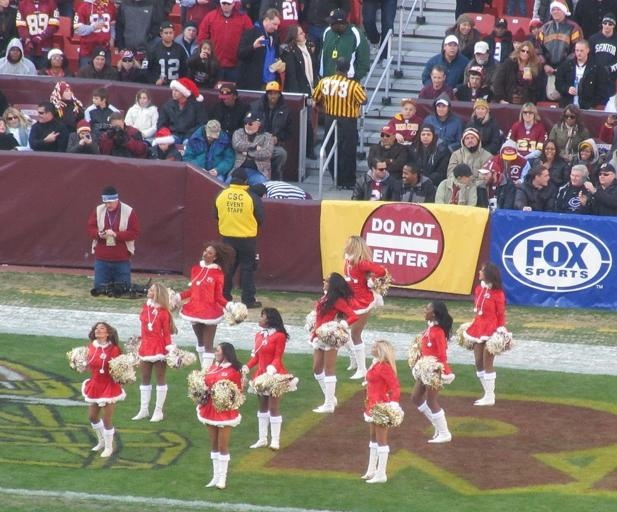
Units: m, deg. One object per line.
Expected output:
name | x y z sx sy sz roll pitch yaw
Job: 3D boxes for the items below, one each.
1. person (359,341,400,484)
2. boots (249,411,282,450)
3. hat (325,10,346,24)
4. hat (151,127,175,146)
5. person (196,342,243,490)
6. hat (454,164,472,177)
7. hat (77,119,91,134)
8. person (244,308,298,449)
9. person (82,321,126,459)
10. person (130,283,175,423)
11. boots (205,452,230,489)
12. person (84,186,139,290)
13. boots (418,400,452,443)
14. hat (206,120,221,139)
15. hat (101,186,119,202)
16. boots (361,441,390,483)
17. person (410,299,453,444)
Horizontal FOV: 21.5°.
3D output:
person | 1.059 2.185 22.868 0.545 1.961 0.563 6 11 2
boots | -0.578 2.513 23.931 0.557 0.576 0.471 2 2 38
hat | 0.571 -4.759 32.651 0.327 0.213 0.265 7 49 8
hat | -2.772 -2.252 31.189 0.344 0.265 0.354 -7 12 -14
person | -1.250 2.204 22.808 0.613 1.920 0.756 5 11 -4
hat | 2.809 -1.522 29.350 0.324 0.285 0.319 7 12 5
hat | -4.267 -2.459 30.838 0.186 0.240 0.273 0 -3 -11
person | -0.551 1.777 23.775 0.746 2.041 1.602 5 11 -1
person | -2.970 1.896 23.453 0.613 1.865 0.581 1 12 -21
person | -2.294 1.452 24.461 0.556 2.023 0.482 4 11 -5
boots | -1.262 2.920 22.843 0.295 0.520 0.544 5 12 -3
person | -3.477 -0.268 28.826 0.880 1.971 0.568 4 11 -8
boots | 1.879 2.451 24.143 0.447 0.657 0.370 -19 17 -8
hat | -1.810 -2.381 30.948 0.298 0.377 0.305 5 12 -5
hat | -3.488 -1.067 28.531 0.250 0.230 0.287 -2 18 2
boots | 0.982 2.912 22.899 0.509 0.602 0.350 1 6 -13
person | 1.853 1.710 23.859 0.753 2.041 0.969 6 11 4
